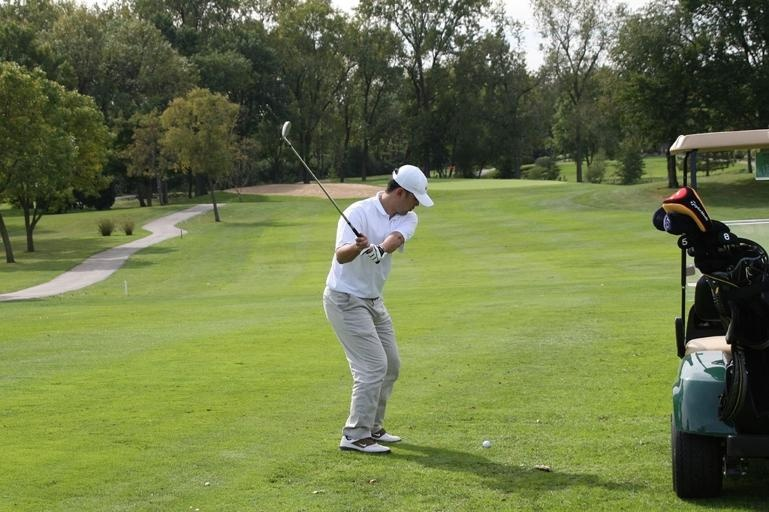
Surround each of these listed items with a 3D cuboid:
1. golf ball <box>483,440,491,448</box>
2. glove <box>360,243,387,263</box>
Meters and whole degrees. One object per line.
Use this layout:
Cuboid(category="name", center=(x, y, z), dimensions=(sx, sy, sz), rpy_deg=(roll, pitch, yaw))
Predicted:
Cuboid(category="golf ball", center=(3.013, 5.501, 30.966), dimensions=(0.211, 0.174, 0.184), rpy_deg=(-11, 3, -8))
Cuboid(category="glove", center=(-0.249, -0.123, 30.788), dimensions=(0.770, 0.391, 0.371), rpy_deg=(15, 28, 40))
